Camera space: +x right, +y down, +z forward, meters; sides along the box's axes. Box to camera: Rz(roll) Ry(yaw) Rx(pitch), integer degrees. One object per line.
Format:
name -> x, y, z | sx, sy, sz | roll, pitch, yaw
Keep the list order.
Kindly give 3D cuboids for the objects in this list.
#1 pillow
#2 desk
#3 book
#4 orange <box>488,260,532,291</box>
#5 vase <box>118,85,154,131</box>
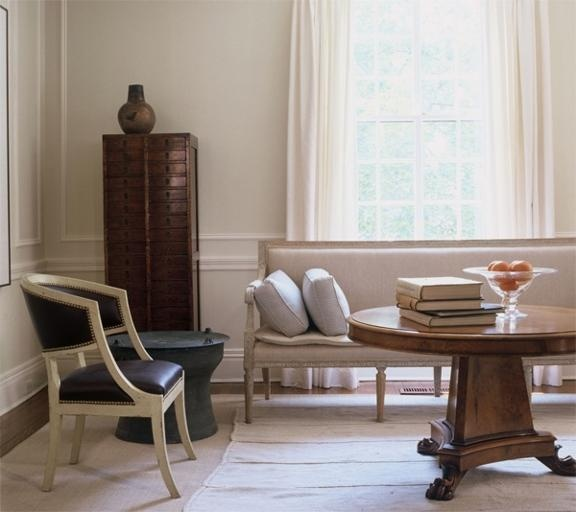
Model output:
pillow -> 0.084, 0.257, 4.387 | 0.489, 0.436, 0.188 | -4, 35, 5
desk -> -0.798, 0.766, 4.275 | 0.867, 0.590, 0.812 | 2, -2, 23
book -> 0.742, 0.205, 3.245 | 0.491, 0.200, 0.300 | 1, 10, 7
orange -> 1.072, 0.097, 3.385 | 0.179, 0.101, 0.166 | 0, -6, 16
vase -> -1.079, -1.047, 5.023 | 0.239, 0.356, 0.266 | 0, 11, 4
